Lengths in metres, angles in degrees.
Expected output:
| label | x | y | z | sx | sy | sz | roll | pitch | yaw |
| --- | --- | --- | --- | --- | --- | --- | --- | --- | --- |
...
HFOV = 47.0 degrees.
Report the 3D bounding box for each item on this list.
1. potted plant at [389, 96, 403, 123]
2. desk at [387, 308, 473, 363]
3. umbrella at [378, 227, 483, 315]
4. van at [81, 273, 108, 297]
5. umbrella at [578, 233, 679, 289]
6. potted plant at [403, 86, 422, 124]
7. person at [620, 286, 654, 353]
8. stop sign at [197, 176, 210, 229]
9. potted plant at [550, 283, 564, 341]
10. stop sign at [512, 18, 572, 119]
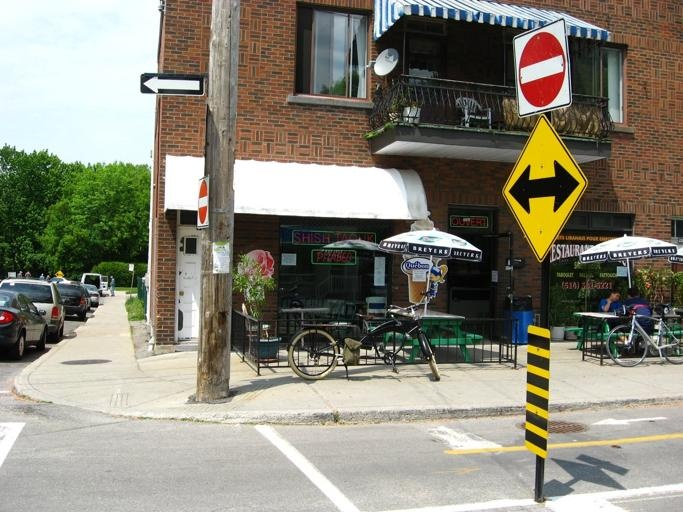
| label | x | y | z | sx | sy | sz | roll | pitch | yaw |
| --- | --- | --- | --- | --- | --- | --- | --- | --- | --- |
| potted plant | 1.297 | -3.438 | 18.574 | 0.291 | 0.617 | 0.594 | 0 | 6 | -3 |
| desk | 2.292 | 1.714 | 17.602 | 1.508 | 1.341 | 1.512 | 1 | 2 | -6 |
| umbrella | 1.890 | -0.202 | 16.476 | 2.037 | 0.516 | 0.729 | 1 | 6 | 3 |
| van | -18.557 | 2.219 | 59.270 | 1.886 | 2.014 | 3.261 | 0 | 2 | -14 |
| umbrella | 6.648 | -0.079 | 18.116 | 2.023 | 0.603 | 0.848 | 4 | 7 | 24 |
| potted plant | 1.724 | -3.588 | 18.818 | 0.422 | 0.950 | 1.068 | 1 | 6 | 5 |
| person | 6.708 | 1.437 | 17.742 | 0.559 | 1.415 | 0.659 | 0 | 2 | 14 |
| stop sign | -2.395 | -0.925 | 13.678 | 0.127 | 0.915 | 0.513 | -2 | 6 | -22 |
| potted plant | 5.851 | 1.483 | 21.106 | 0.522 | 1.564 | 0.356 | -5 | 8 | -43 |
| stop sign | 2.629 | -2.447 | 10.239 | 0.936 | 1.233 | 0.308 | 6 | 8 | 43 |
